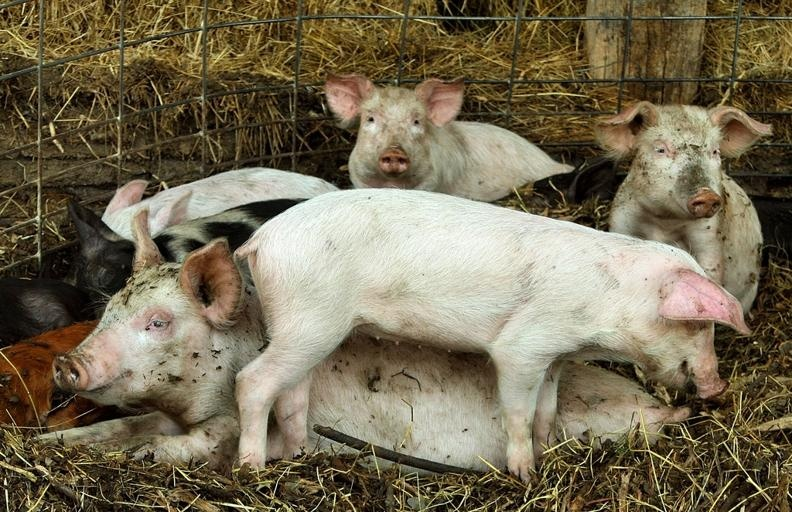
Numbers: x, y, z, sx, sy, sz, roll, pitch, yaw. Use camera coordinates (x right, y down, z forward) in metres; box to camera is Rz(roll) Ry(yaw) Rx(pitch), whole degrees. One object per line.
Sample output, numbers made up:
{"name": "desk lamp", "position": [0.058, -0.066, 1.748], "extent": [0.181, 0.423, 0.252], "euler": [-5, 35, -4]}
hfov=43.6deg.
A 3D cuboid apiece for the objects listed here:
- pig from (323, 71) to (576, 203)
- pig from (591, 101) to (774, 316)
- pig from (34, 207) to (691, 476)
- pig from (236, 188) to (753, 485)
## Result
{"name": "pig", "position": [0.282, -0.731, 6.128], "extent": [1.264, 0.771, 0.599], "euler": [-7, 21, -24]}
{"name": "pig", "position": [1.636, -0.245, 5.896], "extent": [0.983, 1.085, 1.877], "euler": [-1, 1, 13]}
{"name": "pig", "position": [-0.110, 0.452, 4.657], "extent": [1.886, 1.276, 3.575], "euler": [0, 2, -38]}
{"name": "pig", "position": [0.352, 0.367, 4.679], "extent": [2.218, 1.244, 0.709], "euler": [1, 19, -1]}
